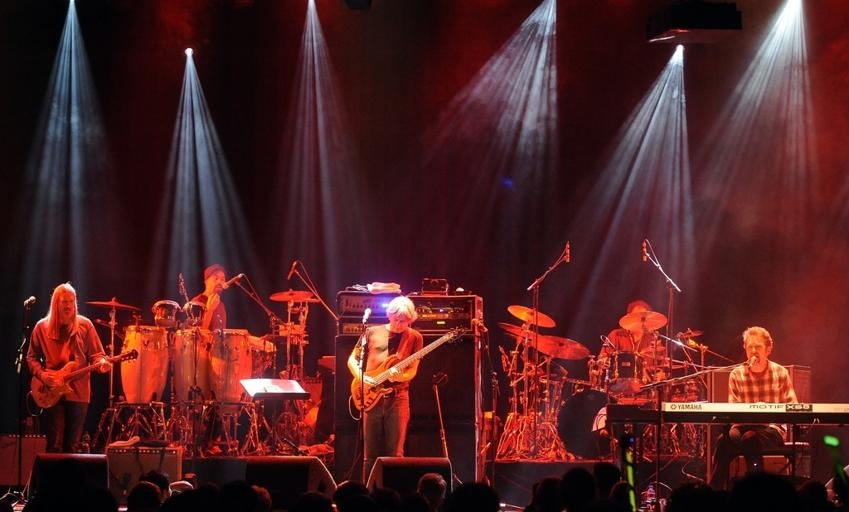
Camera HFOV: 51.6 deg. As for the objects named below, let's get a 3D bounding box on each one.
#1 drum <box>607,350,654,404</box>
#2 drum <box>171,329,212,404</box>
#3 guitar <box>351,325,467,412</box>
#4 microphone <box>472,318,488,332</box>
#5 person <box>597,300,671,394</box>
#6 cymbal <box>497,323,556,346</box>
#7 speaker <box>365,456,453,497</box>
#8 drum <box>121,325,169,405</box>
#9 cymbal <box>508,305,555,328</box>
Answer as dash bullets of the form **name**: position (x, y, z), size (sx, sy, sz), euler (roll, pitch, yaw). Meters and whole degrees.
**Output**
- **drum**: position (3.310, 1.891, 13.887), size (0.808, 0.706, 0.766), euler (-2, -9, 10)
- **drum**: position (-3.633, 1.702, 13.823), size (0.618, 1.075, 0.315), euler (4, -12, -12)
- **guitar**: position (-0.350, 1.640, 12.481), size (1.354, 1.136, 1.115), euler (3, -12, -6)
- **microphone**: position (0.814, 1.039, 13.041), size (0.160, 0.116, 0.377), euler (-8, -26, 39)
- **person**: position (3.492, 1.562, 14.537), size (0.877, 0.923, 1.104), euler (6, 11, 33)
- **cymbal**: position (1.648, 1.275, 14.249), size (0.774, 0.354, 0.866), euler (-1, -12, 11)
- **speaker**: position (-0.243, 2.539, 10.352), size (0.618, 0.325, 0.573), euler (2, -11, -13)
- **drum**: position (-4.374, 1.718, 13.855), size (0.951, 1.131, 0.838), euler (-5, -10, 21)
- **cymbal**: position (1.713, 0.955, 13.942), size (0.510, 0.105, 0.482), euler (23, -23, -6)
